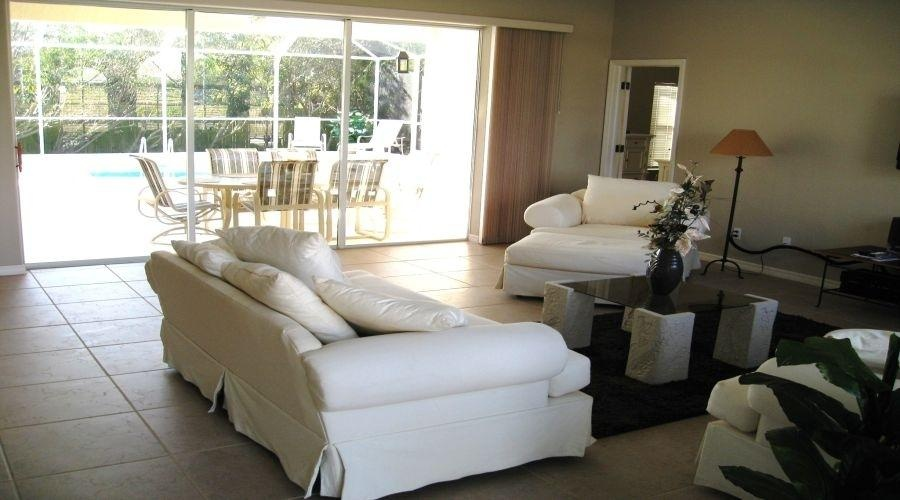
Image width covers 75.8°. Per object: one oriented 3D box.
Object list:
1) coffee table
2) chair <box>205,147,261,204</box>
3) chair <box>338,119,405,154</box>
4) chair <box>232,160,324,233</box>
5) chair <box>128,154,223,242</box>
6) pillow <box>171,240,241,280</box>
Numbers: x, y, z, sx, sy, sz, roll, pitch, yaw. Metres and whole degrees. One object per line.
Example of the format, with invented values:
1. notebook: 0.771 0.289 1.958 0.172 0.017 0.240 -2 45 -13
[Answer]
1. coffee table: 1.850 0.470 5.365 1.348 0.487 1.255 -7 14 -29
2. chair: -2.825 -1.085 7.602 0.526 0.774 0.656 -4 9 -28
3. chair: -1.104 -1.601 8.201 0.815 0.402 0.447 -8 23 -29
4. chair: -2.392 -0.618 8.071 1.126 1.092 0.992 -5 7 -30
5. chair: -3.489 -0.599 7.610 0.959 0.898 0.725 -4 -2 -23
6. pillow: -1.863 0.058 4.431 0.341 0.125 0.451 11 8 -44
